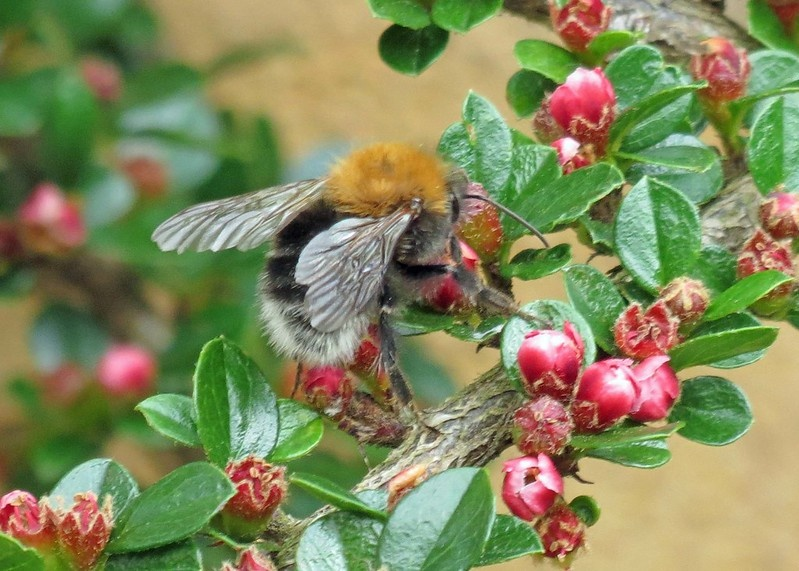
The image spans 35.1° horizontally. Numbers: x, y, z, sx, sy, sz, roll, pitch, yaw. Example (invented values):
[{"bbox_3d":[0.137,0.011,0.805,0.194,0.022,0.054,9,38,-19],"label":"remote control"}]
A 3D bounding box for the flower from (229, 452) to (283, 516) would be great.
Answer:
[{"bbox_3d":[-0.260,0.372,2.351,0.112,0.107,0.091,8,2,39],"label":"flower"}]

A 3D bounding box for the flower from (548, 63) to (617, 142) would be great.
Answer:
[{"bbox_3d":[0.364,-0.360,2.527,0.131,0.144,0.052,-23,11,27],"label":"flower"}]

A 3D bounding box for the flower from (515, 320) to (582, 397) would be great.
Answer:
[{"bbox_3d":[0.270,0.149,2.381,0.116,0.138,0.143,8,34,10],"label":"flower"}]

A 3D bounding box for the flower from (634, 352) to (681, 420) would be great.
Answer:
[{"bbox_3d":[0.467,0.188,2.341,0.091,0.113,0.055,-15,17,-36],"label":"flower"}]

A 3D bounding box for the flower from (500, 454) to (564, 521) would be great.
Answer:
[{"bbox_3d":[0.239,0.371,2.334,0.094,0.111,0.101,-34,57,-29],"label":"flower"}]

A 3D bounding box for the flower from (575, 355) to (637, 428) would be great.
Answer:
[{"bbox_3d":[0.371,0.207,2.321,0.118,0.117,0.084,-7,48,-9],"label":"flower"}]
